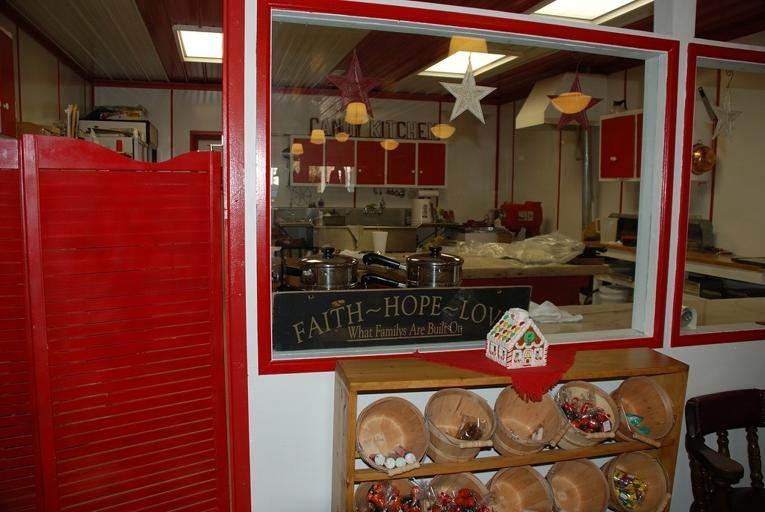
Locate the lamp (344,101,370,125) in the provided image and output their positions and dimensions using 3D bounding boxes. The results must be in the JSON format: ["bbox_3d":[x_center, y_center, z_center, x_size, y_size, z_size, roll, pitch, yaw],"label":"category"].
[{"bbox_3d":[-0.116,-0.654,2.536,0.122,0.061,0.114,0,2,2],"label":"lamp"}]

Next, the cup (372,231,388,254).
[{"bbox_3d":[-0.013,-0.061,2.528,0.101,0.128,0.097,0,4,0],"label":"cup"}]

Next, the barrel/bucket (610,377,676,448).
[{"bbox_3d":[1.192,0.699,2.465,0.293,0.286,0.205,2,-22,-15],"label":"barrel/bucket"}]

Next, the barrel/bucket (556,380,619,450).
[{"bbox_3d":[0.924,0.701,2.530,0.278,0.151,0.291,4,11,-1],"label":"barrel/bucket"}]

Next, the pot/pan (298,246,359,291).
[{"bbox_3d":[-0.241,0.059,2.493,0.185,0.122,0.227,-2,4,-30],"label":"pot/pan"}]

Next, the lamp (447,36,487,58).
[{"bbox_3d":[0.397,-0.980,2.628,0.115,0.045,0.108,0,6,-3],"label":"lamp"}]

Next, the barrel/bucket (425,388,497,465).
[{"bbox_3d":[0.347,0.703,2.438,0.310,0.228,0.321,6,26,-3],"label":"barrel/bucket"}]

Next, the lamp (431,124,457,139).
[{"bbox_3d":[0.287,-0.593,2.631,0.131,0.073,0.033,-4,6,-31],"label":"lamp"}]

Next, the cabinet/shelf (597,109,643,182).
[{"bbox_3d":[1.220,-0.556,2.823,0.198,0.344,0.133,1,6,22],"label":"cabinet/shelf"}]

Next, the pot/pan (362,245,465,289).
[{"bbox_3d":[0.161,0.048,2.573,0.378,0.119,0.207,1,2,-4],"label":"pot/pan"}]

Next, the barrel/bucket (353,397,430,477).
[{"bbox_3d":[0.045,0.752,2.356,0.299,0.302,0.231,-1,5,2],"label":"barrel/bucket"}]
